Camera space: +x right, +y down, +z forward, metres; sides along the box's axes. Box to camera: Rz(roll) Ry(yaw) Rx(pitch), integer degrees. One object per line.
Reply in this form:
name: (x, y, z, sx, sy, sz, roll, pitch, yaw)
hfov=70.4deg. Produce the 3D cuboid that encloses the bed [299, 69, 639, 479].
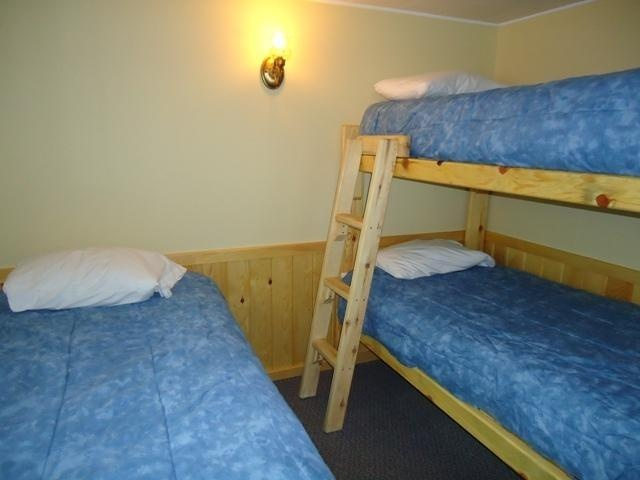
bed: (0.760, 0.146, 2.584, 1.653, 2.151, 0.944, 14, 17, 37)

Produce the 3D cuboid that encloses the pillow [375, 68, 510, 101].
pillow: (0.696, -0.917, 2.701, 0.516, 0.123, 0.332, -13, 14, 0)

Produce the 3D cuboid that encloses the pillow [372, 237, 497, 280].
pillow: (0.770, 0.136, 3.170, 0.493, 0.130, 0.402, -4, 11, -12)

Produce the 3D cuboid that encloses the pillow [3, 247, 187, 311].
pillow: (-1.213, 0.204, 2.409, 0.613, 0.166, 0.425, 1, 20, -20)

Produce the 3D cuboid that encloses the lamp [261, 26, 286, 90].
lamp: (-0.296, -1.153, 2.956, 0.184, 0.335, 0.140, -1, 14, -15)
